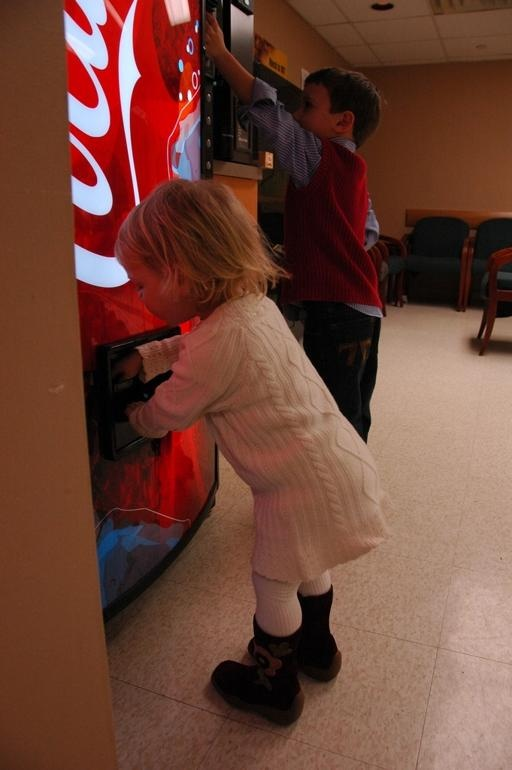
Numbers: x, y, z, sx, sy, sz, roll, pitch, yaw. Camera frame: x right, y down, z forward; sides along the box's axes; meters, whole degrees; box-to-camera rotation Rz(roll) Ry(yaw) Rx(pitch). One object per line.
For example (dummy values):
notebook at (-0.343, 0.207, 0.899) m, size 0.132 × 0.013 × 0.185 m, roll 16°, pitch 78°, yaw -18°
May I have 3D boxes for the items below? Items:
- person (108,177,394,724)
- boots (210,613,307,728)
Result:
person at (0.002, 0.128, 0.837) m, size 0.400 × 0.839 × 0.211 m, roll -3°, pitch 12°, yaw -16°
boots at (0.002, 0.463, 0.913) m, size 0.165 × 0.177 × 0.079 m, roll 11°, pitch 19°, yaw 30°
